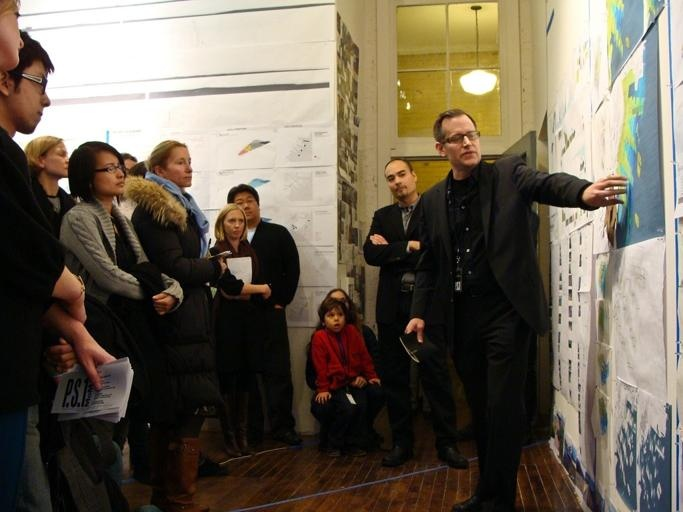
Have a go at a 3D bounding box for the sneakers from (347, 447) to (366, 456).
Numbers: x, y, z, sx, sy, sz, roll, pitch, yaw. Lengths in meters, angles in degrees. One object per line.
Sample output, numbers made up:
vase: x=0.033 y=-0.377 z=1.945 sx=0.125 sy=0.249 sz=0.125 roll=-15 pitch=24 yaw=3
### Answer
sneakers: x=0.105 y=1.380 z=3.906 sx=0.142 sy=0.068 sz=0.055 roll=-3 pitch=-3 yaw=25

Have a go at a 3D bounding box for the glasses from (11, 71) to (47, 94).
glasses: x=-1.043 y=-0.579 z=1.828 sx=0.099 sy=0.039 sz=0.101 roll=2 pitch=4 yaw=-8

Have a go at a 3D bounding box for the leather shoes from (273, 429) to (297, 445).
leather shoes: x=-0.423 y=1.400 z=4.254 sx=0.198 sy=0.090 sz=0.074 roll=1 pitch=3 yaw=21

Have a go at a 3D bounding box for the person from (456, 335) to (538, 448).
person: x=1.280 y=0.967 z=4.193 sx=0.648 sy=0.946 sz=0.333 roll=1 pitch=-4 yaw=39
